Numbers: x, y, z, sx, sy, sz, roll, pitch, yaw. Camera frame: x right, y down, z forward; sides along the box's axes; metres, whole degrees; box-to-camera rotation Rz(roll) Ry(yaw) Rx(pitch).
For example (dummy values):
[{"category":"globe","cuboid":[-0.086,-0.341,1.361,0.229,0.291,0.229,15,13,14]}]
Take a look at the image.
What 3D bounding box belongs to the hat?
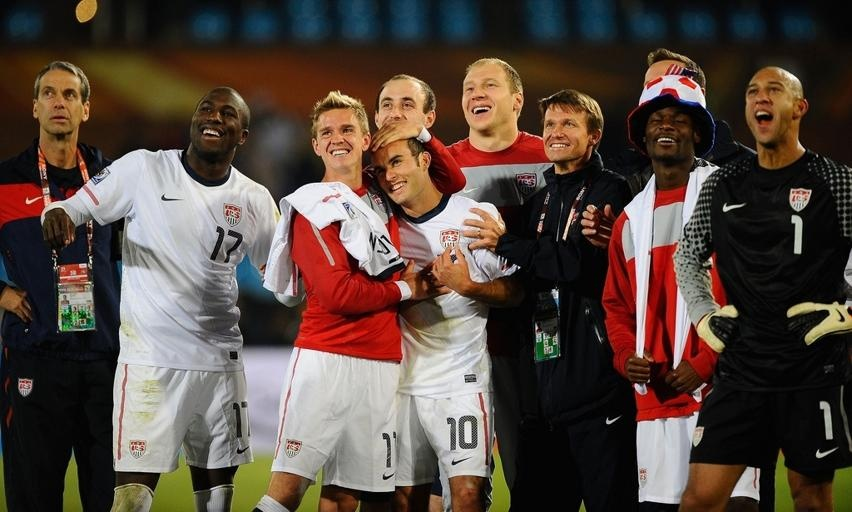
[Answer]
[{"category":"hat","cuboid":[2.124,-1.320,9.022,0.629,0.399,0.818,-4,-40,15]}]
